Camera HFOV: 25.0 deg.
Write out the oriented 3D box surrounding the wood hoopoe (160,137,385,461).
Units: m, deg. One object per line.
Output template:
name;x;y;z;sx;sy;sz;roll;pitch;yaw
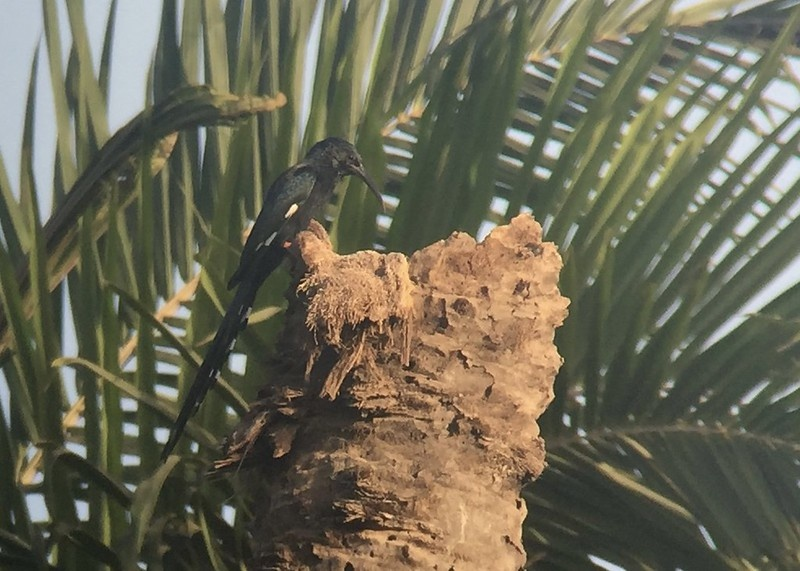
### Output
wood hoopoe;-0.221;0.024;3.020;0.150;0.570;0.336;20;11;35
